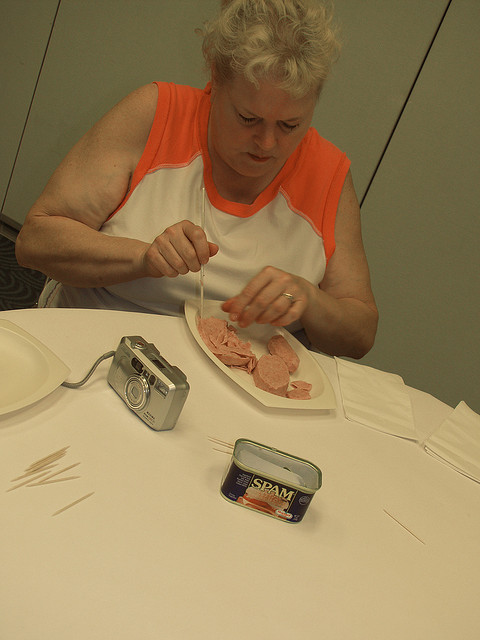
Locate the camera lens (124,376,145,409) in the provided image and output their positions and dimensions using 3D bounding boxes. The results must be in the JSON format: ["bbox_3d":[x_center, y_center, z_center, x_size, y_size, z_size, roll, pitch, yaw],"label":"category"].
[{"bbox_3d":[-0.164,0.111,0.851,0.010,0.055,0.050,-13,16,-39],"label":"camera lens"}]

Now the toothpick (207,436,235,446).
[{"bbox_3d":[-0.033,0.196,0.884,0.033,0.004,0.004,22,23,12],"label":"toothpick"}]

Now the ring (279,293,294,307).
[{"bbox_3d":[0.097,-0.042,1.159,0.028,0.026,0.028,2,6,0],"label":"ring"}]

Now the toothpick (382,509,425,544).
[{"bbox_3d":[0.257,0.328,0.863,0.070,0.003,0.003,37,-9,15],"label":"toothpick"}]

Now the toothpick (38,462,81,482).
[{"bbox_3d":[-0.240,0.200,0.716,0.077,0.004,0.006,-19,61,-40],"label":"toothpick"}]

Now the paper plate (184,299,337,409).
[{"bbox_3d":[0.061,0.075,1.211,0.406,0.207,0.291,7,22,23],"label":"paper plate"}]

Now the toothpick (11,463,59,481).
[{"bbox_3d":[-0.268,0.196,0.703,0.069,0.008,0.005,-15,77,-34],"label":"toothpick"}]

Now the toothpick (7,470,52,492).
[{"bbox_3d":[-0.266,0.202,0.693,0.069,0.003,0.008,-20,13,-35],"label":"toothpick"}]

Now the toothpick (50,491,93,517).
[{"bbox_3d":[-0.213,0.230,0.680,0.006,0.005,0.077,7,21,42],"label":"toothpick"}]

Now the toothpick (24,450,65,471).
[{"bbox_3d":[-0.262,0.187,0.724,0.073,0.003,0.008,-20,67,-37],"label":"toothpick"}]
